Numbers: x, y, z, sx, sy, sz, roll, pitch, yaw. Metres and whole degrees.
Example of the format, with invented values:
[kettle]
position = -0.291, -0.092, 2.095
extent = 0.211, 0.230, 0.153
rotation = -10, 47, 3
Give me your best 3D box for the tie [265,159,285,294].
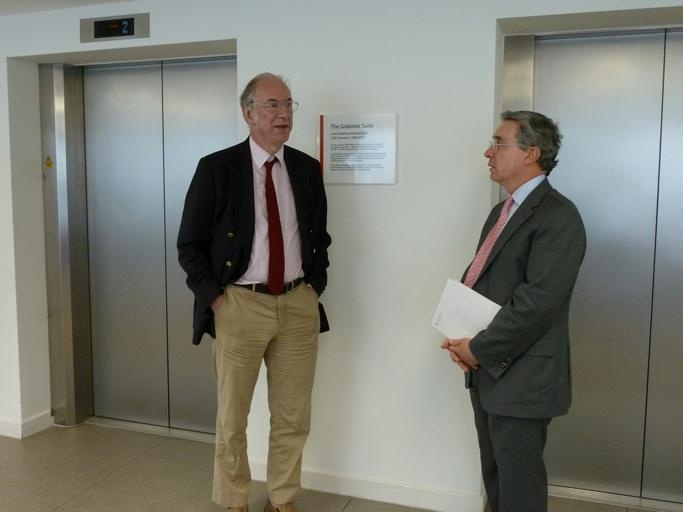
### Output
[tie]
position = -0.357, -0.150, 3.094
extent = 0.082, 0.698, 0.036
rotation = 1, -3, -8
